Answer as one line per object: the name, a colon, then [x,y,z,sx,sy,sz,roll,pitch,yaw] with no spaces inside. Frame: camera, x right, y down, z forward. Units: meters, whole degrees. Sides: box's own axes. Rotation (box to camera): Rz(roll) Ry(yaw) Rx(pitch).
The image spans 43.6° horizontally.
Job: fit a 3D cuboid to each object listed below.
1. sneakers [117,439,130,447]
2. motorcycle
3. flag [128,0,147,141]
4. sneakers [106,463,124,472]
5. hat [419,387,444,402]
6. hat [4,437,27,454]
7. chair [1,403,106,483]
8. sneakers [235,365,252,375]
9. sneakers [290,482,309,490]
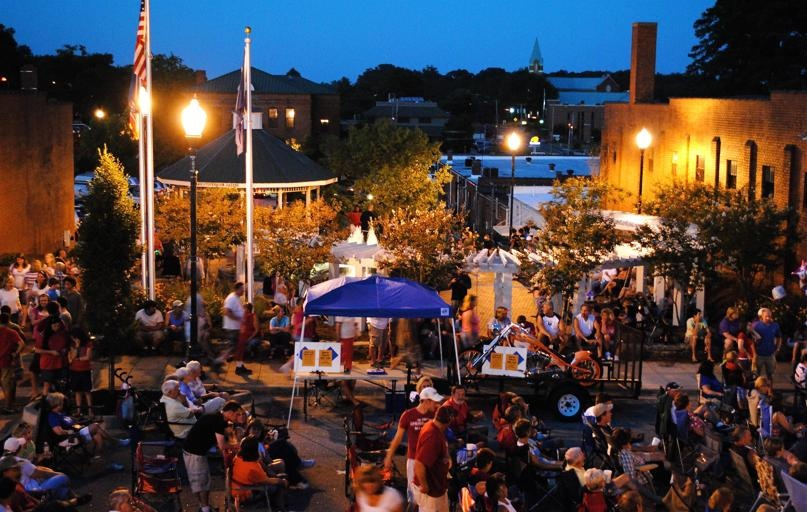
sneakers: [-7.706,5.111,27.740,0.211,0.138,0.218,5,-4,-2]
motorcycle: [3.837,2.972,29.834,3.908,1.747,1.808,2,-4,1]
flag: [-9.173,-6.481,34.731,0.568,4.619,0.755,-3,5,-32]
sneakers: [-7.629,5.559,26.702,0.466,0.210,0.176,-1,34,-8]
hat: [0.659,3.458,25.121,0.330,0.433,1.095,2,5,16]
hat: [-9.546,4.605,24.751,0.307,0.272,0.457,28,38,31]
chair: [-9.005,4.831,26.062,2.110,2.416,1.881,4,7,-4]
sneakers: [-5.129,3.607,32.234,0.494,0.245,0.265,1,8,-2]
sneakers: [-2.722,5.939,26.233,0.405,0.199,0.179,-1,4,-1]
